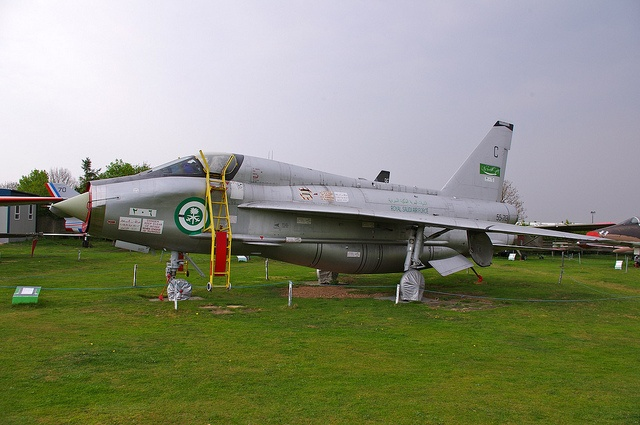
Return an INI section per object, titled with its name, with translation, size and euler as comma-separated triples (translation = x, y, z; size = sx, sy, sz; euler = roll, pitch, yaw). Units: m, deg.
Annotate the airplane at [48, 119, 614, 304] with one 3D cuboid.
[airplane]
translation = -0.322, 0.256, 15.699
size = 12.935, 4.013, 10.507
euler = 3, -4, -23
